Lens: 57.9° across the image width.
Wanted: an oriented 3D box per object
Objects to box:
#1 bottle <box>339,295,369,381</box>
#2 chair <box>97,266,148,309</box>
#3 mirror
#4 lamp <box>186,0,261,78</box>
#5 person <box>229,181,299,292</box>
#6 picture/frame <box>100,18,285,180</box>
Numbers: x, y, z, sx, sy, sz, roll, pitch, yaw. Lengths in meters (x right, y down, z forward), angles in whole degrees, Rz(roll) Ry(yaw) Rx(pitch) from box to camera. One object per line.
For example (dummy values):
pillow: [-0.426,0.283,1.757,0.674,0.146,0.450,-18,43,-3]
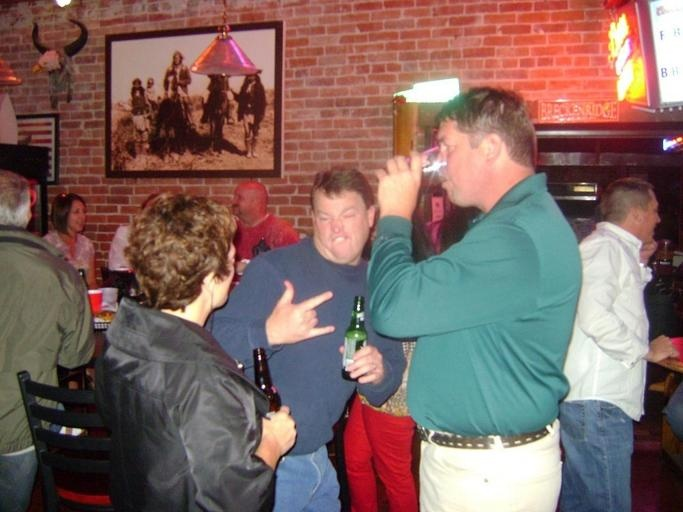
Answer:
bottle: [0.059,0.359,2.747,0.113,0.368,0.189,0,-2,2]
chair: [-1.511,0.208,4.196,0.210,0.370,0.367,6,13,-16]
mirror: [0.528,-0.632,4.498,0.729,1.091,0.731,-4,8,-1]
lamp: [-0.864,-1.579,4.810,0.559,0.629,0.578,-1,37,-9]
person: [-0.537,-0.156,4.262,0.441,0.869,0.851,-1,2,-26]
picture/frame: [-1.312,-1.477,5.719,1.495,1.120,0.031,1,2,10]
